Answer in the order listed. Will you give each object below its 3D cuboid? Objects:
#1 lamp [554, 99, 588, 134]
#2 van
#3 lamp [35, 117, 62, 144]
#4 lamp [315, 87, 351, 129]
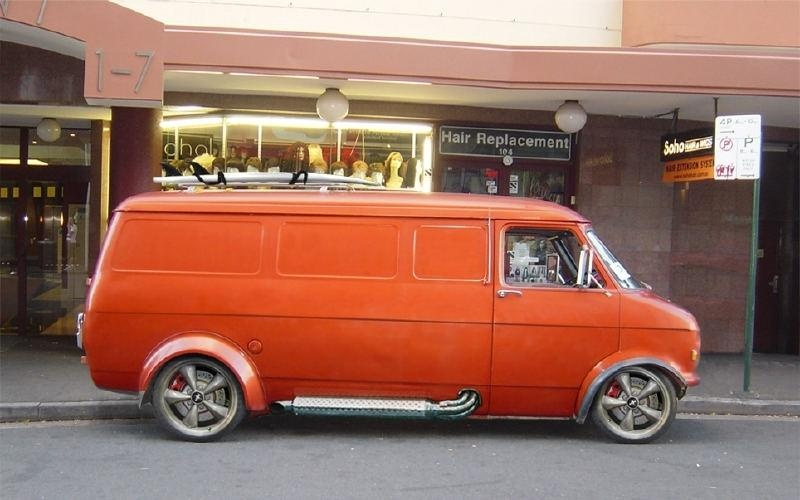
[{"bbox_3d":[3.367,-2.559,16.227,0.577,0.702,0.586,1,-5,0],"label":"lamp"},{"bbox_3d":[-0.086,0.951,13.538,9.310,3.732,3.529,1,3,0],"label":"van"},{"bbox_3d":[-7.435,-2.577,17.799,0.449,0.441,0.462,-1,1,3],"label":"lamp"},{"bbox_3d":[-1.272,-2.712,15.977,0.649,0.751,0.661,3,-7,-18],"label":"lamp"}]
